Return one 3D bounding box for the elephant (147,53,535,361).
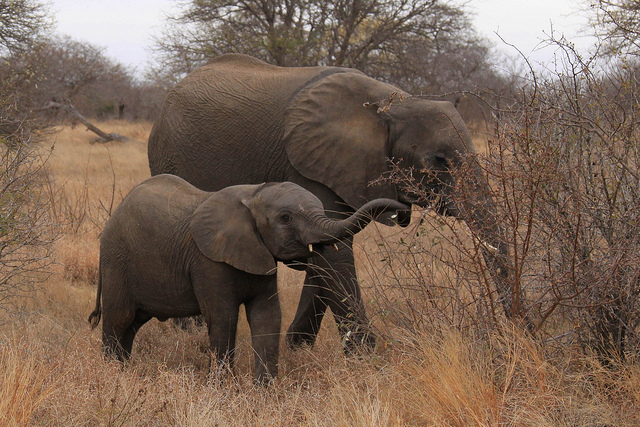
[{"bbox_3d":[0.292,-0.016,9.572,5.968,3.886,2.269,10,15,28],"label":"elephant"}]

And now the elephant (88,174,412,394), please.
[{"bbox_3d":[-1.031,0.834,8.151,3.702,2.575,1.254,4,10,23],"label":"elephant"}]
